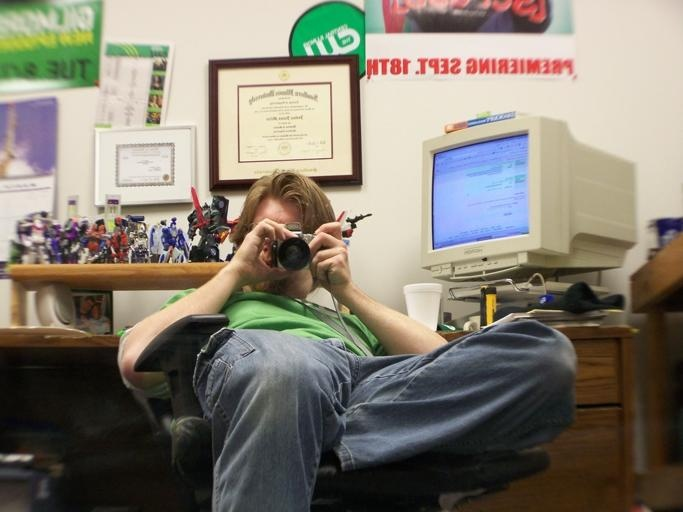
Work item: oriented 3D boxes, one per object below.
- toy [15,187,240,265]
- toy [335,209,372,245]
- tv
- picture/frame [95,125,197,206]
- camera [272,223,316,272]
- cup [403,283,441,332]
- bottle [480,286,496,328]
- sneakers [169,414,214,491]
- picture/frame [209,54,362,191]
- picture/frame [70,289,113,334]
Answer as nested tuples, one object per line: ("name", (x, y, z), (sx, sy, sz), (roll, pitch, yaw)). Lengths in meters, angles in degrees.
("toy", (-0.599, -0.048, 2.025), (0.880, 0.314, 0.281), (1, -6, -5))
("toy", (0.026, -0.112, 2.194), (0.177, 0.089, 0.054), (-13, 28, -28))
("tv", (0.637, -0.164, 2.148), (0.605, 0.460, 0.617), (-3, -5, 41))
("picture/frame", (-0.699, -0.313, 2.236), (0.332, 0.249, 0.031), (0, -8, -2))
("camera", (-0.122, -0.019, 1.640), (0.140, 0.129, 0.137), (-3, -4, -5))
("cup", (0.217, 0.157, 1.897), (0.138, 0.140, 0.133), (0, -3, 0))
("bottle", (0.434, 0.152, 1.805), (0.034, 0.108, 0.036), (-10, -8, -1))
("sneakers", (-0.277, 0.365, 1.142), (0.070, 0.124, 0.076), (1, -1, -15))
("picture/frame", (-0.193, -0.460, 2.205), (0.588, 0.468, 0.041), (0, -5, -3))
("picture/frame", (-0.835, 0.189, 2.051), (0.167, 0.174, 0.024), (0, -6, -38))
